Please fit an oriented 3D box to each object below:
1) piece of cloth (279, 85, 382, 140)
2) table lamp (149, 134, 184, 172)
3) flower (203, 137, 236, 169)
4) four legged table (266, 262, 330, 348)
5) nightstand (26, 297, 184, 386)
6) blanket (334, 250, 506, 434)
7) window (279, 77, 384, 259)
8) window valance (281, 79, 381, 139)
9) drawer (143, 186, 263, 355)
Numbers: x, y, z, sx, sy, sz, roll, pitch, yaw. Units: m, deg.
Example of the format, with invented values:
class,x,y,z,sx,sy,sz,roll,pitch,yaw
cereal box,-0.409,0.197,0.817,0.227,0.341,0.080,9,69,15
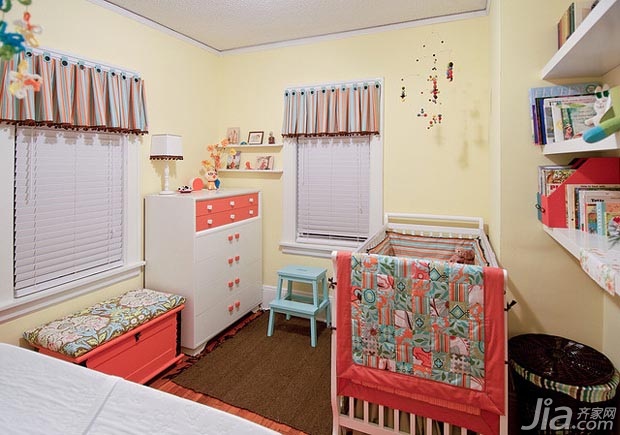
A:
class,x,y,z,sx,sy,sz,roll,pitch,yaw
piece of cloth,0.214,-1.120,4.419,1.026,0.542,0.118,0,-7,13
table lamp,-1.369,-0.667,4.194,0.281,0.302,0.363,6,12,25
flower,-1.058,-0.698,4.926,0.210,0.357,0.265,-15,45,-29
four legged table,-0.025,0.879,4.408,0.652,0.739,0.697,0,-1,21
nightstand,-1.659,1.114,3.586,0.661,0.701,1.070,6,13,27
blanket,0.837,0.735,3.078,1.045,1.059,1.093,1,1,26
window,0.259,-0.537,4.544,1.208,1.977,0.178,4,7,39
window valance,0.218,-1.114,4.407,1.025,0.571,0.114,0,-10,13
drawer,-0.947,0.296,4.429,0.532,0.985,0.837,7,12,36
